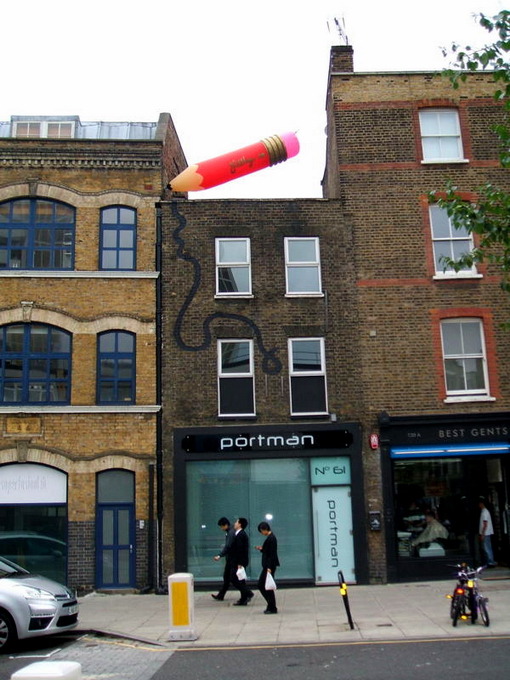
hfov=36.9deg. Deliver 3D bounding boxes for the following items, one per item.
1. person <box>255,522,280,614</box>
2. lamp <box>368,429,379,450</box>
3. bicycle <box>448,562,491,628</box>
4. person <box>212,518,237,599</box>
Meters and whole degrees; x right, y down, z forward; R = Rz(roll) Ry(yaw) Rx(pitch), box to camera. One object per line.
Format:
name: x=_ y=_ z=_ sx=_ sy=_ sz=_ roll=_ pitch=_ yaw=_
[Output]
person: x=0.229 y=4.159 z=13.992 sx=0.524 sy=1.349 sz=0.797 roll=1 pitch=-5 yaw=9
lamp: x=2.723 y=2.342 z=17.588 sx=0.232 sy=0.430 sz=0.119 roll=-3 pitch=-14 yaw=2
bicycle: x=3.300 y=3.980 z=11.919 sx=0.581 sy=0.905 sz=0.717 roll=-6 pitch=-14 yaw=11
person: x=-0.581 y=4.442 z=15.361 sx=0.887 sy=1.598 sz=0.736 roll=-1 pitch=-11 yaw=6
